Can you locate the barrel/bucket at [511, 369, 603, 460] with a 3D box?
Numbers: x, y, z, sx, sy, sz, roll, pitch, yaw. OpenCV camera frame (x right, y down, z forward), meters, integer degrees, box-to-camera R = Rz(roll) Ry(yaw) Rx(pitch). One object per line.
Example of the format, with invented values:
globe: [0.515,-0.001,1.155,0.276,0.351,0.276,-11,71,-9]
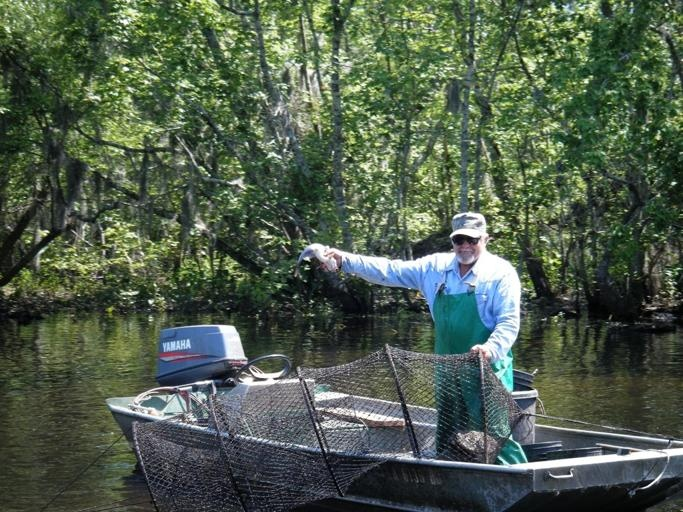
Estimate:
barrel/bucket: [3.678,3.114,23.101,1.645,1.534,1.934,-2,1,-23]
